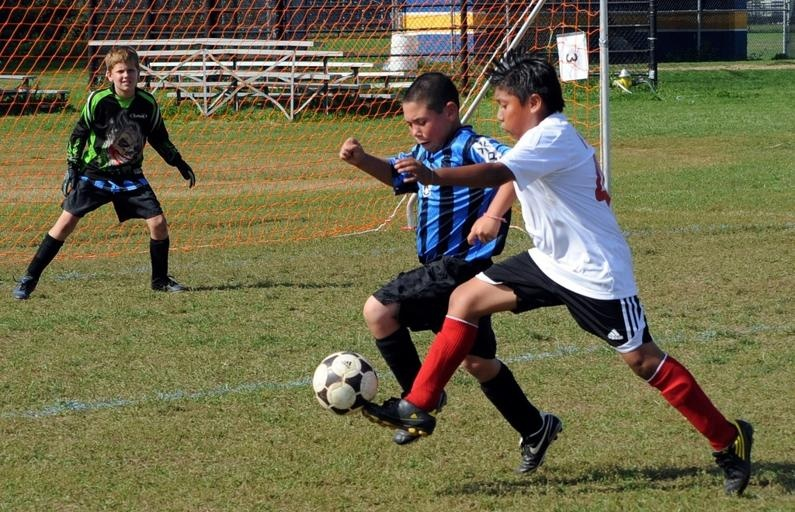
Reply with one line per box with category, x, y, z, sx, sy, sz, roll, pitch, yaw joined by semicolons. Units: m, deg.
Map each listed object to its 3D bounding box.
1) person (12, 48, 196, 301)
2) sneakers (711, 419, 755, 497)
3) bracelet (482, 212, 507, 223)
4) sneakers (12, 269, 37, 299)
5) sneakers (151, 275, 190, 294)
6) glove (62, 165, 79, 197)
person;-2.633;-0.801;9.128;1.409;2.218;0.445;0;10;-4
sneakers;2.243;1.338;6.669;0.274;0.566;0.191;4;-3;-22
bracelet;0.649;-0.251;6.464;0.106;0.037;0.091;-7;8;-42
sneakers;-3.397;0.292;9.041;0.120;0.332;0.147;26;-33;-10
sneakers;-2.092;0.286;9.228;0.392;0.174;0.138;0;-2;4
glove;-3.022;-0.691;9.058;0.087;0.284;0.211;17;-5;-32
